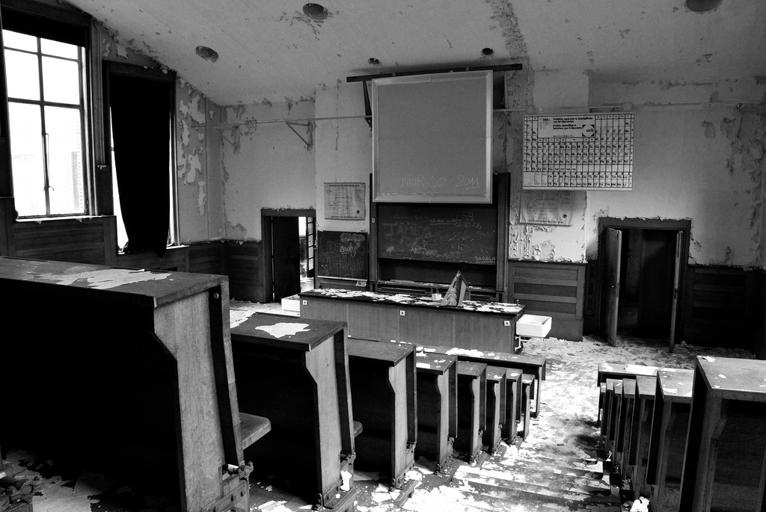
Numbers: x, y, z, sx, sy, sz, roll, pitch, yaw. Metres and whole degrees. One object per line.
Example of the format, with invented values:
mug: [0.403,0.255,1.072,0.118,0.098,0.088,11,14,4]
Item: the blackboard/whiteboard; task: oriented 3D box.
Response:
blackboard/whiteboard: [0.947,-0.614,9.187,1.381,1.016,0.052,2,4,17]
